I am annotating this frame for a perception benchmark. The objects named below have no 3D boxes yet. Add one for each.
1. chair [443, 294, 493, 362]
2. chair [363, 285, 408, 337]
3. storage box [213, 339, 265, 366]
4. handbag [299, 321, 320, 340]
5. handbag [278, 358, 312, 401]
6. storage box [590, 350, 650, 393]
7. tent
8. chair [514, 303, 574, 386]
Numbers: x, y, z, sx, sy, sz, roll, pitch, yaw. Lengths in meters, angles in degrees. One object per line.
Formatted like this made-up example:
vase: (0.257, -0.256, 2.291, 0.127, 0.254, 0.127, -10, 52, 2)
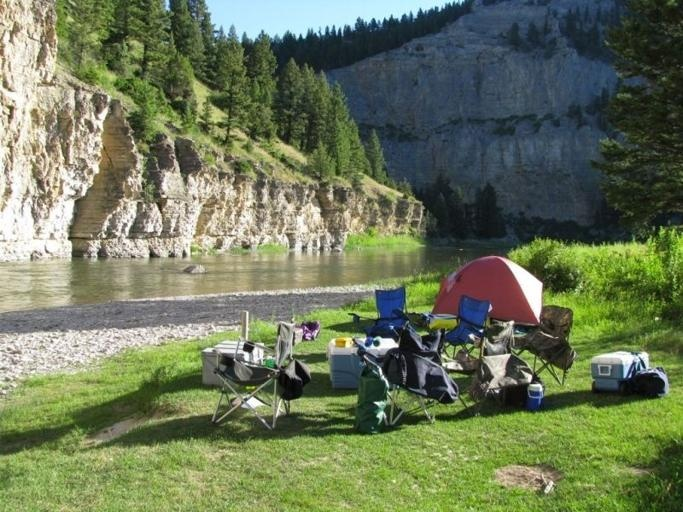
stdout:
chair: (6.091, 3.588, 45.060, 2.448, 3.284, 2.057, 0, 11, -42)
chair: (2.303, 2.676, 46.846, 1.666, 2.910, 2.259, -6, -13, 18)
storage box: (-4.847, 4.300, 43.862, 1.611, 1.354, 1.697, 5, -13, -4)
handbag: (-1.636, 3.796, 47.740, 0.755, 0.477, 0.975, 12, 33, -4)
handbag: (-2.260, 5.734, 42.823, 1.473, 1.770, 0.809, -13, 1, -36)
storage box: (13.399, 5.422, 44.280, 2.115, 1.853, 2.923, 1, 4, 17)
tent: (7.958, 2.100, 48.753, 4.119, 3.902, 4.972, -7, 5, -38)
chair: (10.196, 4.517, 45.549, 2.700, 4.021, 2.704, 1, 6, 21)
